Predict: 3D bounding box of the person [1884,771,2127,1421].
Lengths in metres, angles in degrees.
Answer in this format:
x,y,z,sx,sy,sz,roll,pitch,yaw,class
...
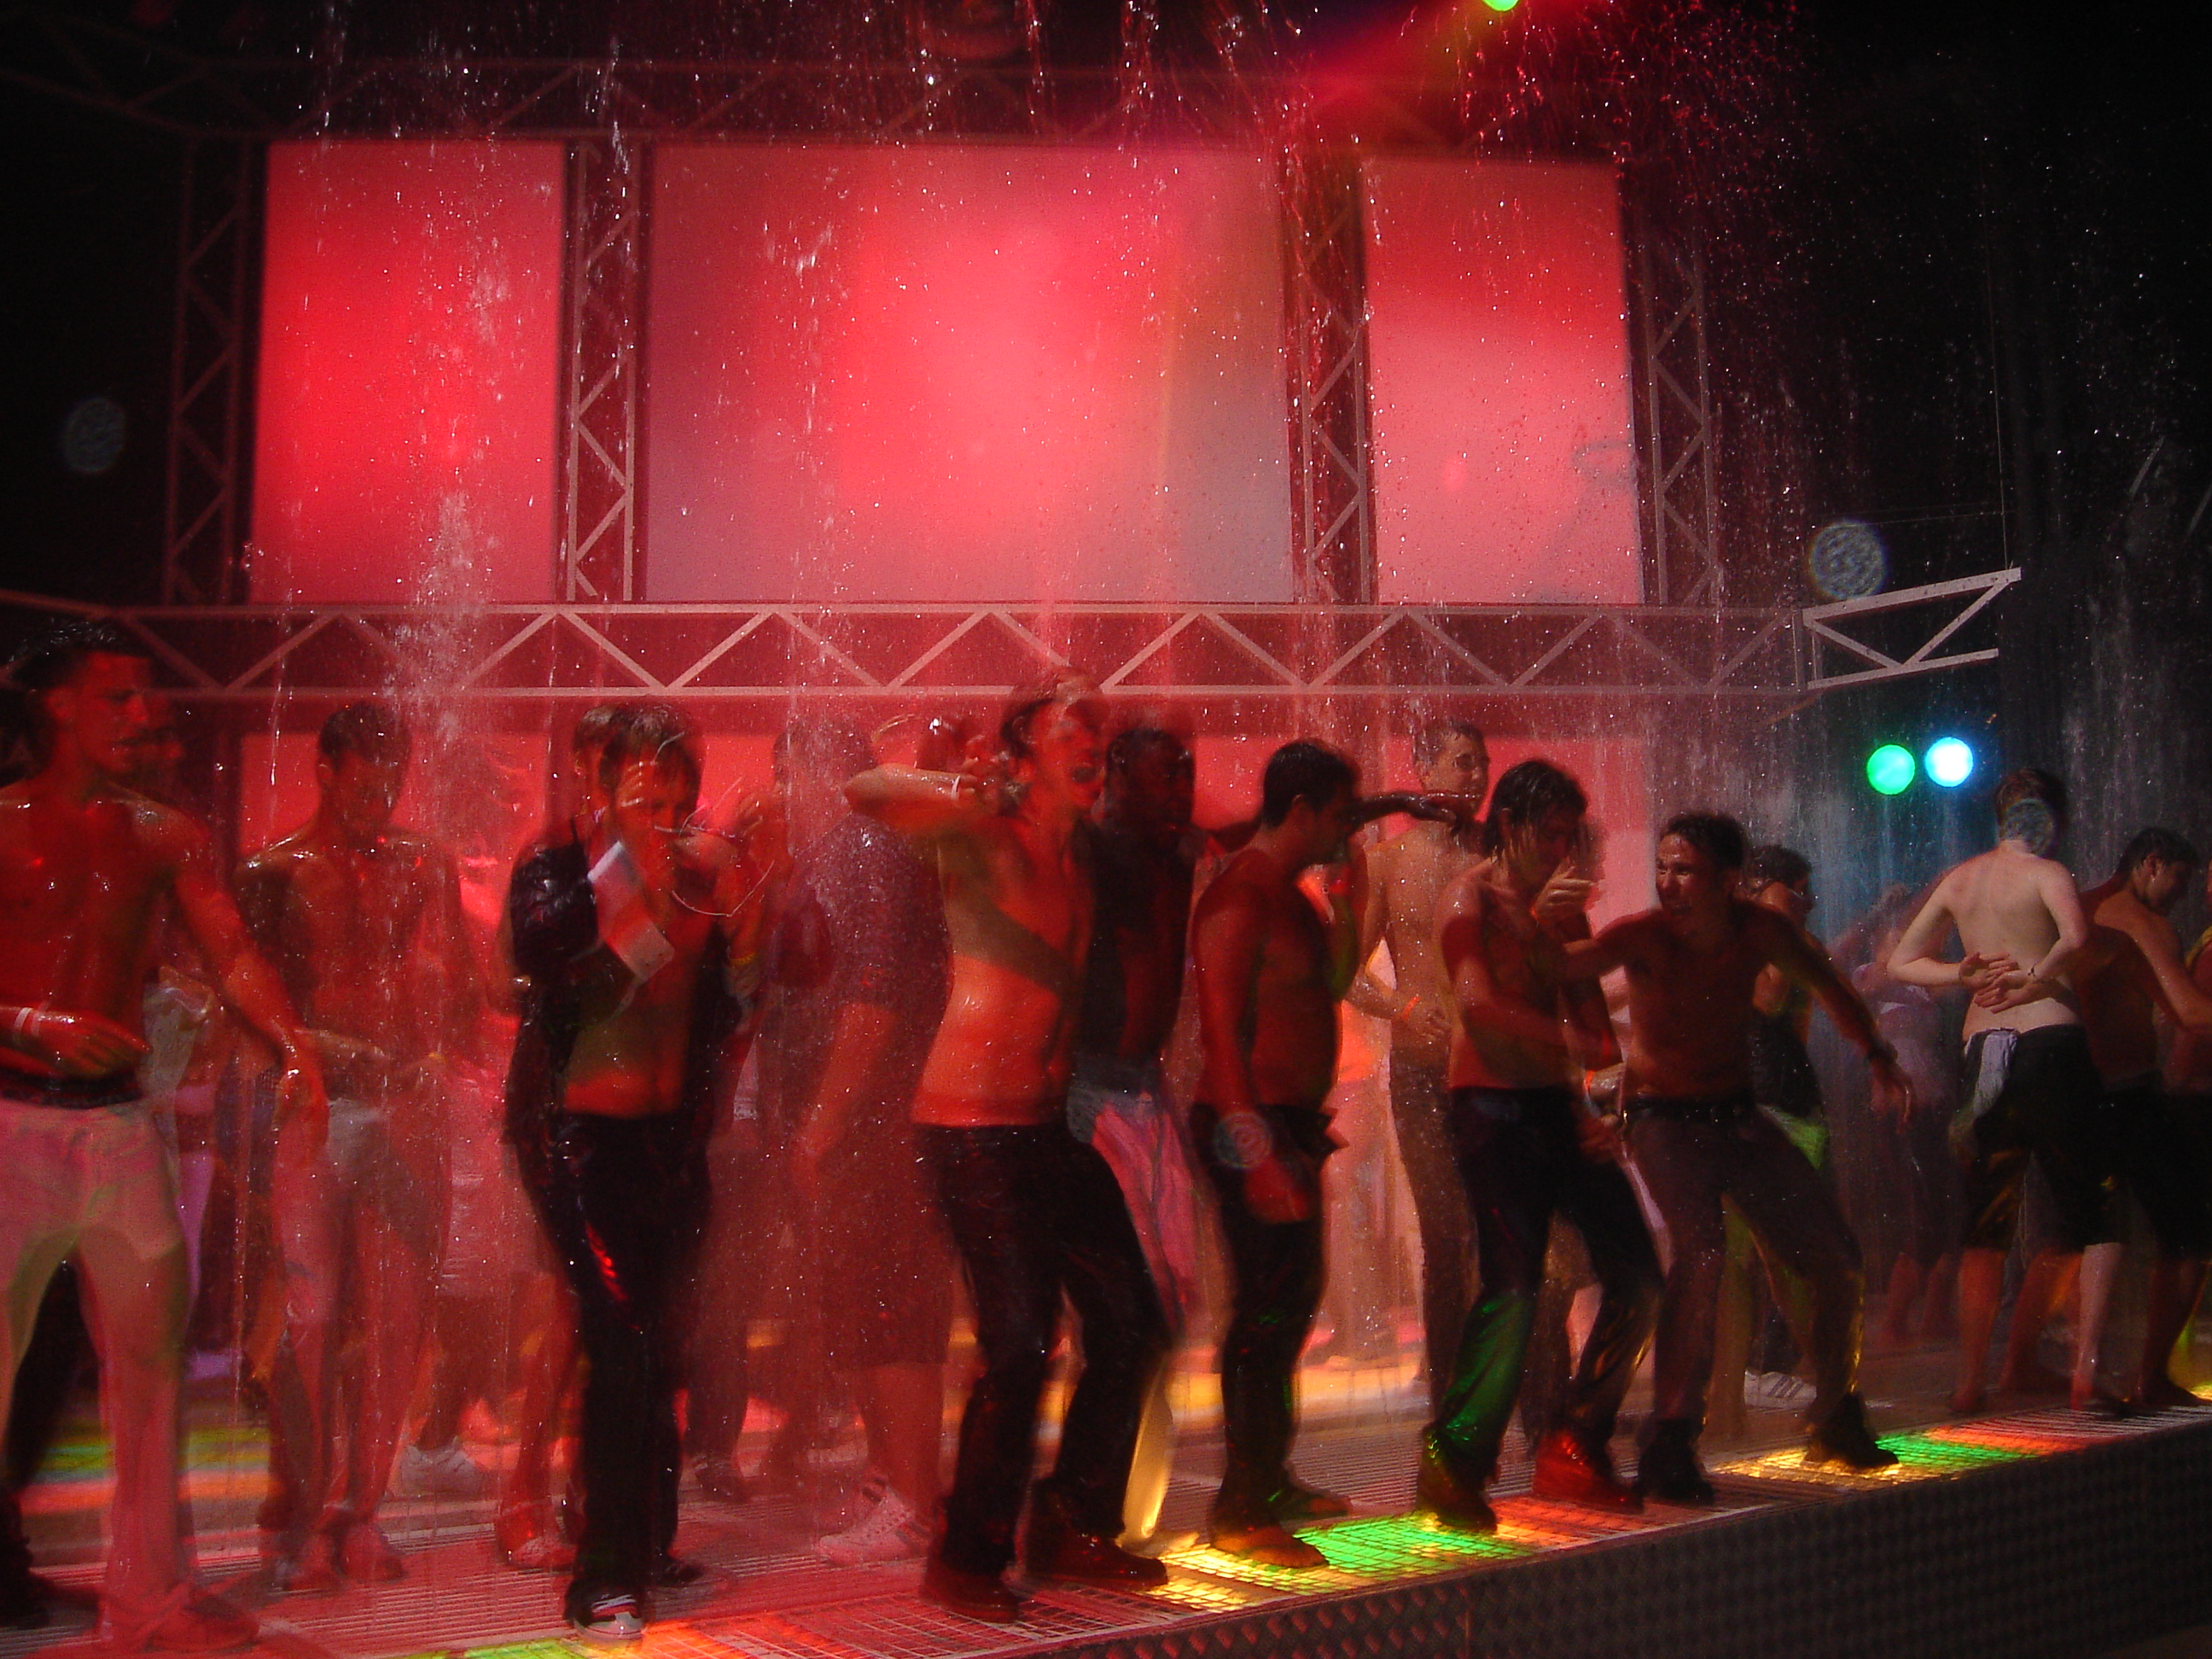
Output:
x,y,z,sx,sy,sz,roll,pitch,yaw,class
3.362,0.942,7.834,0.628,2.270,0.553,-4,-5,27,person

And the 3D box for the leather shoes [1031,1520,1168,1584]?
x,y,z,sx,sy,sz,roll,pitch,yaw,class
-0.031,1.989,5.853,0.399,0.187,0.147,-1,-4,6,leather shoes

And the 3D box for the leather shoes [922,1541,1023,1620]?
x,y,z,sx,sy,sz,roll,pitch,yaw,class
-0.352,1.990,5.588,0.210,0.220,0.133,4,-10,0,leather shoes

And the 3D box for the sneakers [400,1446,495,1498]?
x,y,z,sx,sy,sz,roll,pitch,yaw,class
-2.258,2.194,7.167,0.152,0.176,0.169,16,-17,8,sneakers

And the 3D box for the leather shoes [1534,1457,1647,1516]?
x,y,z,sx,sy,sz,roll,pitch,yaw,class
1.459,1.966,6.378,0.352,0.132,0.209,-7,-7,39,leather shoes

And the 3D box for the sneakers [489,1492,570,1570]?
x,y,z,sx,sy,sz,roll,pitch,yaw,class
-1.680,2.067,6.183,0.253,0.215,0.267,1,-14,-7,sneakers

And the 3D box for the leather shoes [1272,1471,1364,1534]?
x,y,z,sx,sy,sz,roll,pitch,yaw,class
0.626,1.979,6.235,0.107,0.155,0.337,-16,-34,30,leather shoes

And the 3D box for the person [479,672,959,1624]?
x,y,z,sx,sy,sz,roll,pitch,yaw,class
-1.276,0.876,5.805,0.703,2.455,0.382,-1,-5,-19,person
